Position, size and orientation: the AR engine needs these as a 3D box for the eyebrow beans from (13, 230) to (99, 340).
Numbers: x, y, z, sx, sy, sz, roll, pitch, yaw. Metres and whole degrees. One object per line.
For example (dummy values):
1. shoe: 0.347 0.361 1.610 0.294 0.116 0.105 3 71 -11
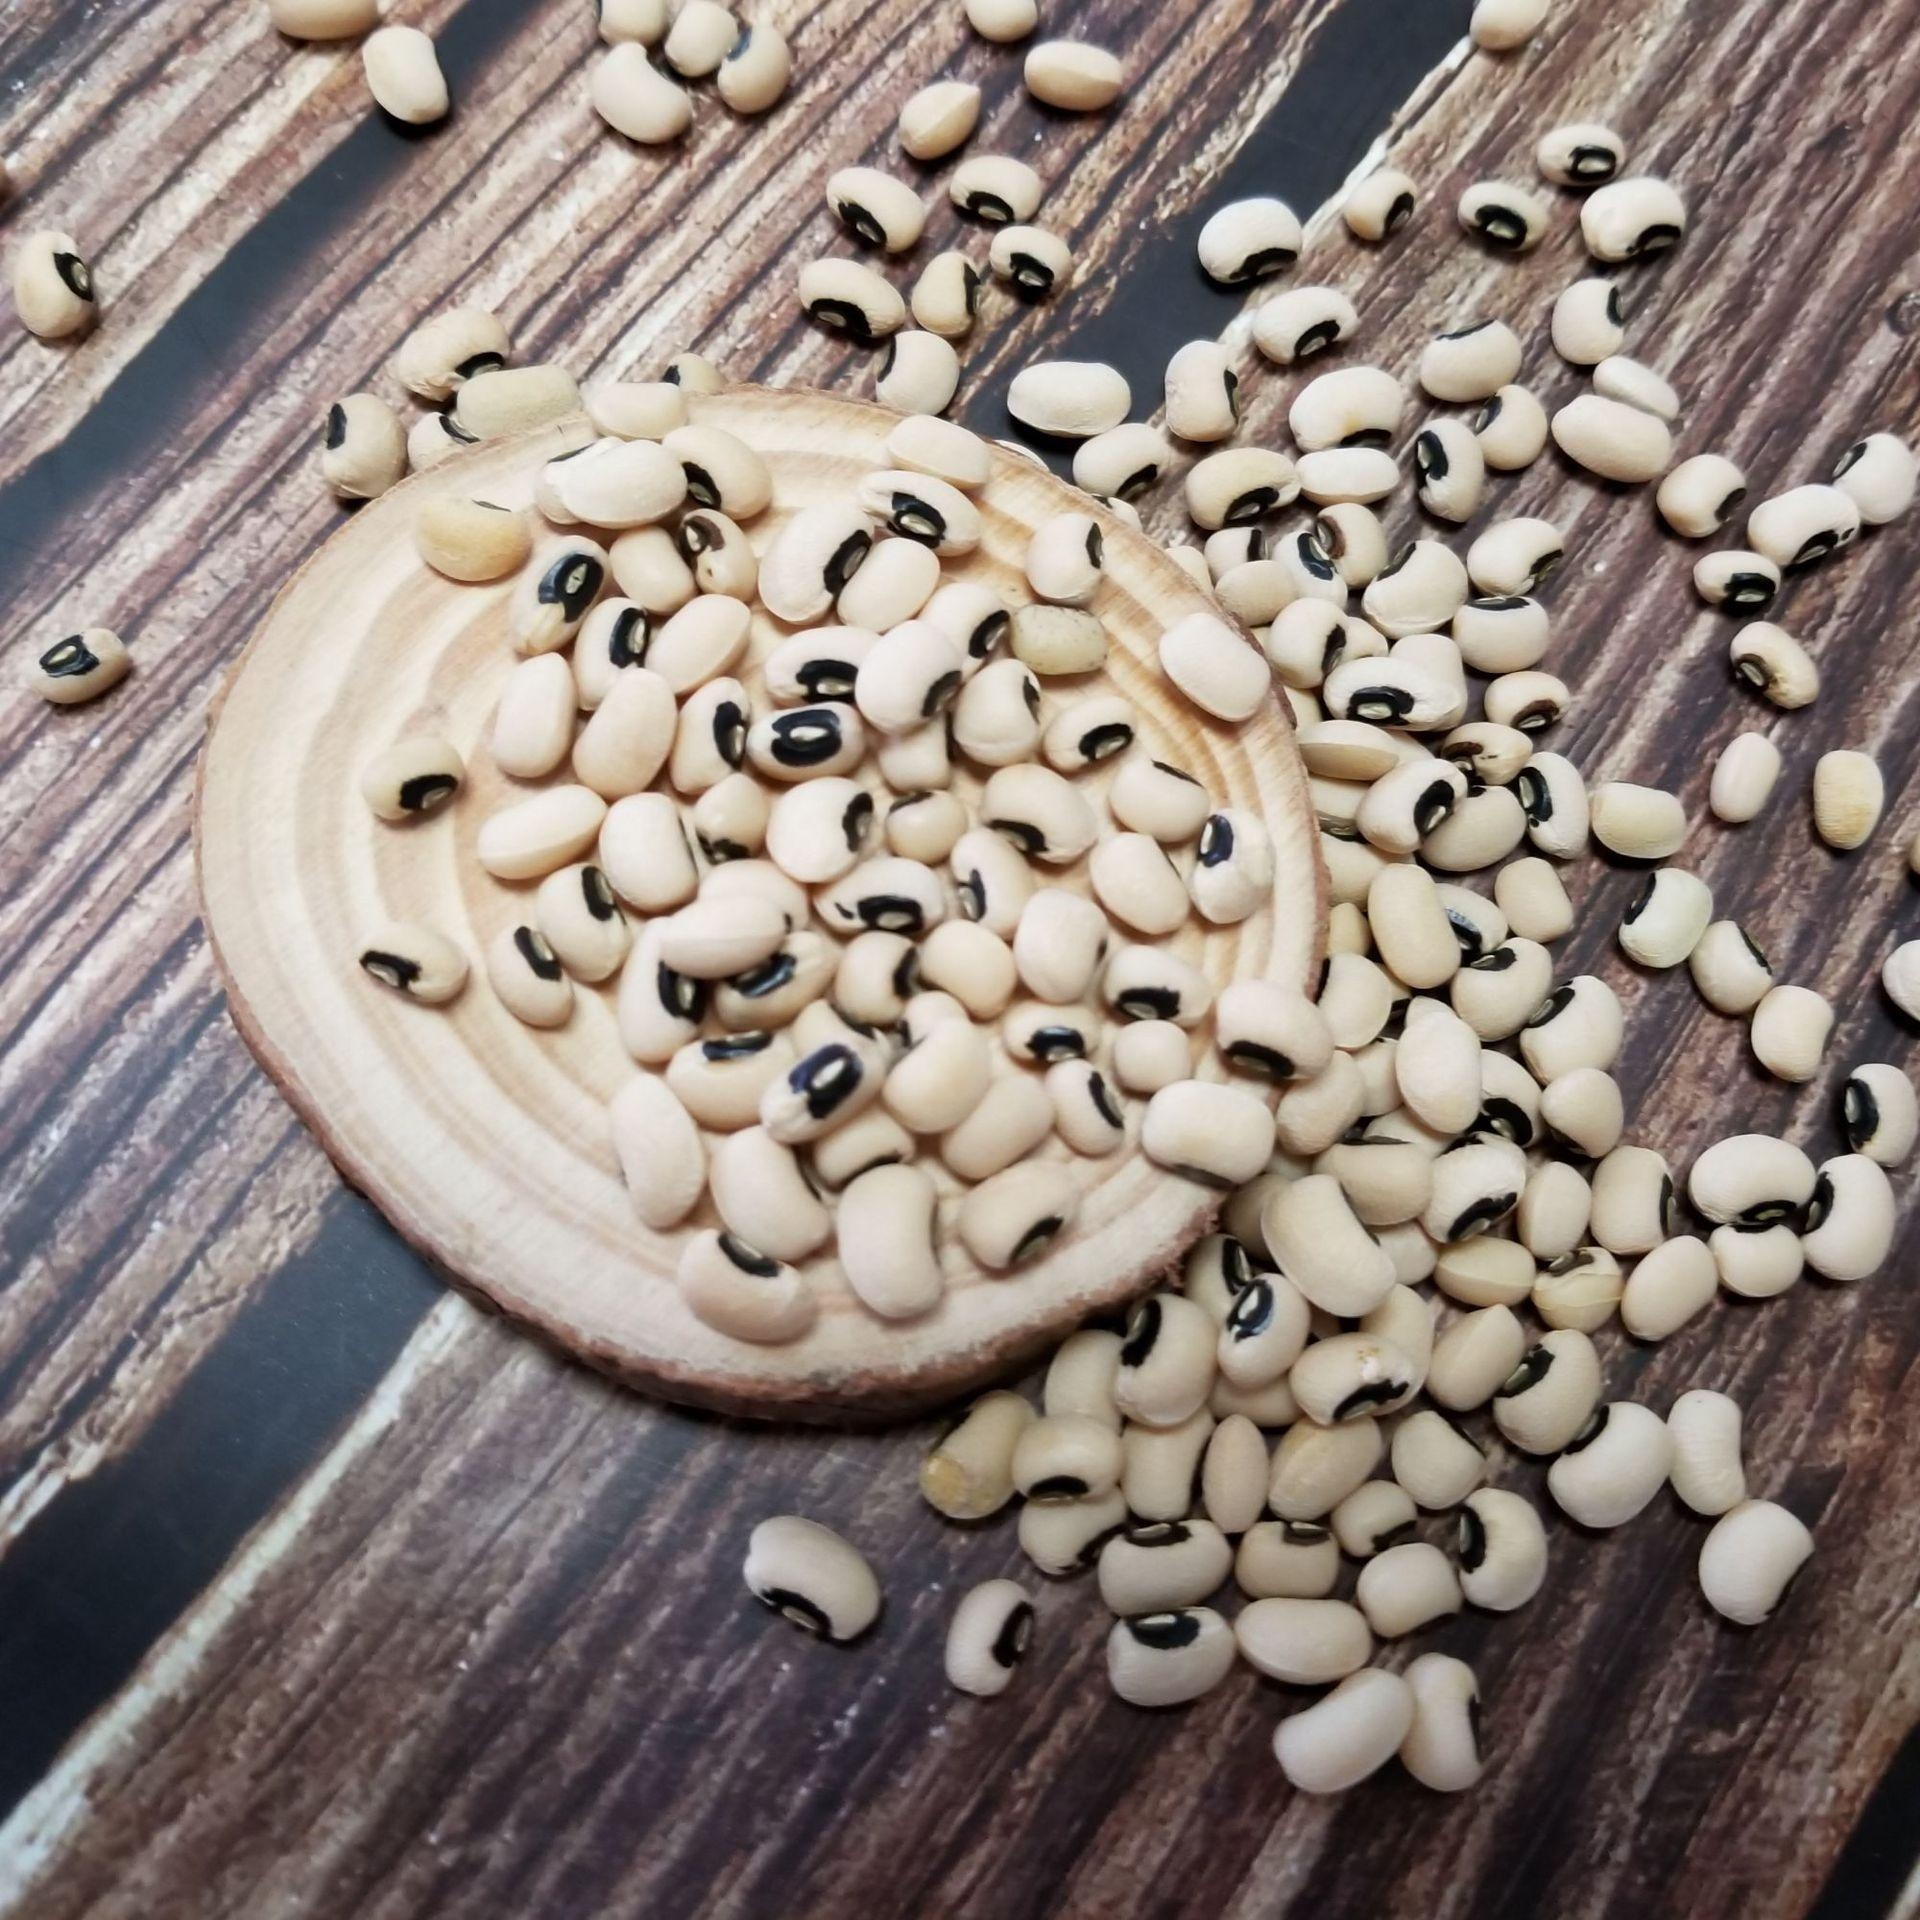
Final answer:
1. eyebrow beans: -0.597 -0.450 1.491 0.062 0.069 0.046 -1 -1 -39

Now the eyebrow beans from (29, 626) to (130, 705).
1. eyebrow beans: -0.560 -0.192 1.447 0.062 0.020 0.043 -29 90 -12
